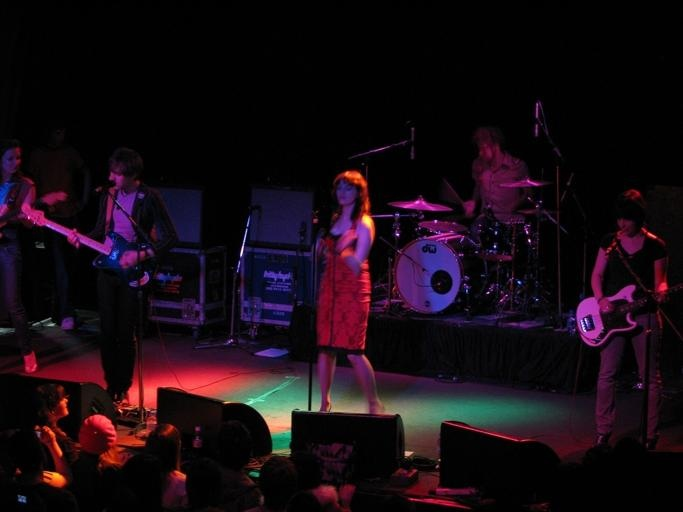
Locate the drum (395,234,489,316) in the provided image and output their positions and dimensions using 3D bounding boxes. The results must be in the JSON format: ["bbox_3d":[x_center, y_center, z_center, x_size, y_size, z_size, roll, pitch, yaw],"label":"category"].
[{"bbox_3d":[1.260,0.150,8.079,1.050,1.095,0.885,1,3,31],"label":"drum"}]

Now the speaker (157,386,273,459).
[{"bbox_3d":[-0.955,1.220,4.753,0.874,0.482,0.461,3,-9,-7],"label":"speaker"}]

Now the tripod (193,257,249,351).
[{"bbox_3d":[-1.620,0.667,8.941,0.676,1.243,1.033,3,-9,-8],"label":"tripod"}]

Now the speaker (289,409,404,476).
[{"bbox_3d":[0.023,1.303,4.464,0.738,0.456,0.178,3,-9,-8],"label":"speaker"}]

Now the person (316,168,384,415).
[{"bbox_3d":[0.041,0.303,5.543,0.515,2.017,0.559,2,-9,-1],"label":"person"}]

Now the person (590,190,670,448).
[{"bbox_3d":[2.404,0.508,5.414,0.611,2.113,1.008,-1,-9,21],"label":"person"}]

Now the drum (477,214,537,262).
[{"bbox_3d":[2.055,-0.220,8.273,0.666,0.475,0.526,3,-2,-27],"label":"drum"}]

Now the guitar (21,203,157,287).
[{"bbox_3d":[-2.894,-0.121,7.244,1.269,0.394,0.137,20,-8,11],"label":"guitar"}]
